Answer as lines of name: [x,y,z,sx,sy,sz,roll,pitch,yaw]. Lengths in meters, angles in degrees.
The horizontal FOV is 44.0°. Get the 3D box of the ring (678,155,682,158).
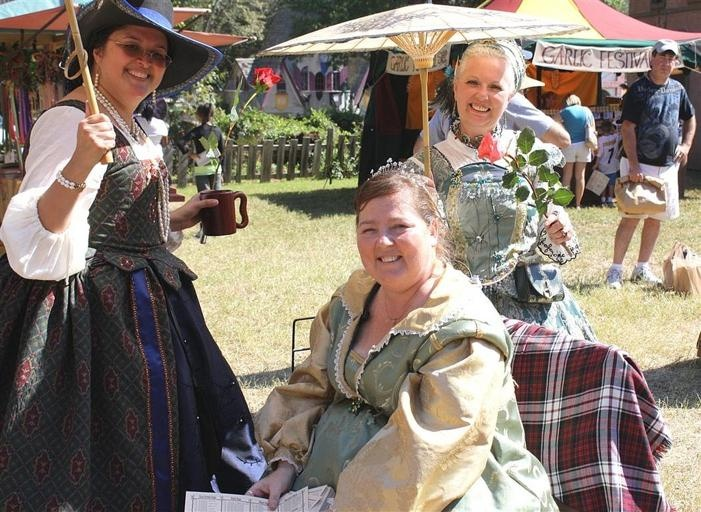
ring: [3.060,-0.935,8.061,0.024,0.030,0.025,-5,2,0]

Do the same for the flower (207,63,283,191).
flower: [-0.580,-0.700,4.705,0.244,0.660,0.173,13,4,-29]

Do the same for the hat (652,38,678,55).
hat: [2.864,-1.898,7.882,0.210,0.134,0.314,5,14,18]

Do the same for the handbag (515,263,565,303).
handbag: [0.950,0.116,4.498,0.291,0.294,0.170,-1,-3,-21]

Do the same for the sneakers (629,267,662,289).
sneakers: [2.810,0.196,8.129,0.124,0.184,0.363,-5,5,-35]

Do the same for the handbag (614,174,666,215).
handbag: [2.610,-0.553,7.764,0.303,0.336,0.130,2,-28,4]

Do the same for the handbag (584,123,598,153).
handbag: [3.228,-1.594,11.679,0.162,0.523,0.461,-1,2,21]

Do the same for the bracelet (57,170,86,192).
bracelet: [-1.182,-0.305,3.647,0.082,0.092,0.027,22,44,-9]

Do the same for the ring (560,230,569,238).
ring: [1.048,-0.116,4.253,0.034,0.037,0.009,-1,3,3]

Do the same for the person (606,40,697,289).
person: [2.834,-0.881,8.125,0.628,2.226,1.173,5,13,21]
